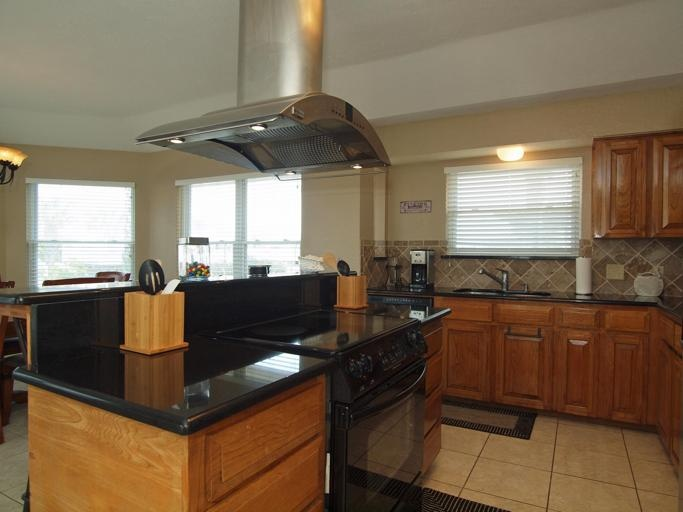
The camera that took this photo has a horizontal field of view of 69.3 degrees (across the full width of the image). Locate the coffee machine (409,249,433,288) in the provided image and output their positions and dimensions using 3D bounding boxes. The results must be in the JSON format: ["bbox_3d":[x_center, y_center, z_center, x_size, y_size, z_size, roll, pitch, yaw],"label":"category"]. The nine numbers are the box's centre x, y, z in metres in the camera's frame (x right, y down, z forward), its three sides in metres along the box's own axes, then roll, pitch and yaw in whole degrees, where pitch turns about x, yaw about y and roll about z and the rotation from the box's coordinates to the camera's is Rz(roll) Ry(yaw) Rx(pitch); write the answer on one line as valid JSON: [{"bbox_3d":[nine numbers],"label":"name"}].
[{"bbox_3d":[0.819,0.117,5.024,0.255,0.362,0.368,6,10,9],"label":"coffee machine"}]

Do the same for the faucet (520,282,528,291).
[{"bbox_3d":[1.767,0.289,4.765,0.075,0.092,0.044,5,7,28],"label":"faucet"}]

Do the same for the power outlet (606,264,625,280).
[{"bbox_3d":[2.494,0.144,4.484,0.159,0.149,0.022,9,11,25],"label":"power outlet"}]

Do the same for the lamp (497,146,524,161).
[{"bbox_3d":[1.638,-0.991,4.778,0.148,0.085,0.145,2,-4,-45],"label":"lamp"}]

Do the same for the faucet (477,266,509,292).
[{"bbox_3d":[1.476,0.230,4.778,0.311,0.207,0.425,7,10,15],"label":"faucet"}]

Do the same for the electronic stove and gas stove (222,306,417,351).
[{"bbox_3d":[-0.115,0.365,2.809,0.789,0.106,1.063,1,1,29],"label":"electronic stove and gas stove"}]
